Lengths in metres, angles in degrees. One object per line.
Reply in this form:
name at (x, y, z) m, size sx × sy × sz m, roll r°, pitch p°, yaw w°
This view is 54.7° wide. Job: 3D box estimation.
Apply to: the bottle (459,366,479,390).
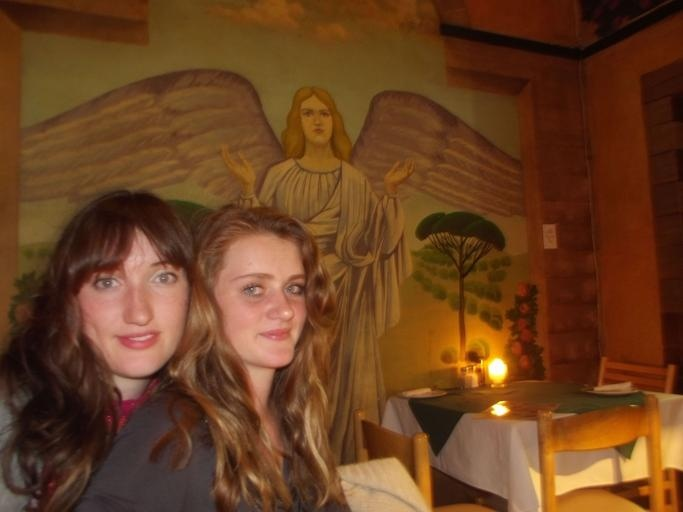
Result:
bottle at (1.044, 0.960, 5.205) m, size 0.146 × 0.154 × 0.155 m, roll -2°, pitch -1°, yaw -24°
